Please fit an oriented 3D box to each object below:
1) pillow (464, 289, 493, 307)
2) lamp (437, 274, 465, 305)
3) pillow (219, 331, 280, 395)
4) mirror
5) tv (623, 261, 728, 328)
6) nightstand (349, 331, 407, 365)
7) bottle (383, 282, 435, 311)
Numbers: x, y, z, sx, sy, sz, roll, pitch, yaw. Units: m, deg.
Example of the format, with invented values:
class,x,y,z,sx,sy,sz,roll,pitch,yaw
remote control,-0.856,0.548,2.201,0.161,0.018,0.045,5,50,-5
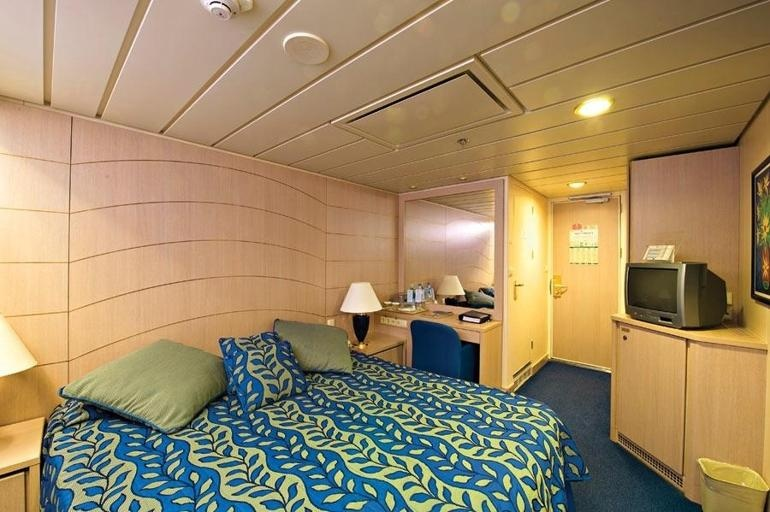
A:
class,x,y,z,sx,sy,sz,roll,pitch,yaw
pillow,1.036,0.453,5.256,0.211,0.190,0.063,7,-6,29
lamp,0.740,0.386,5.471,0.304,0.414,0.292,-2,-1,-37
pillow,-1.078,0.797,3.842,0.439,0.405,0.128,2,-36,-49
mirror,0.774,-0.072,5.412,1.541,1.683,0.077,3,4,39
tv,2.473,0.331,4.212,0.525,0.533,0.670,-1,3,-21
nightstand,-0.059,0.870,5.114,0.341,0.418,0.470,2,3,40
bottle,0.342,0.482,5.630,0.338,0.144,0.459,2,5,37
